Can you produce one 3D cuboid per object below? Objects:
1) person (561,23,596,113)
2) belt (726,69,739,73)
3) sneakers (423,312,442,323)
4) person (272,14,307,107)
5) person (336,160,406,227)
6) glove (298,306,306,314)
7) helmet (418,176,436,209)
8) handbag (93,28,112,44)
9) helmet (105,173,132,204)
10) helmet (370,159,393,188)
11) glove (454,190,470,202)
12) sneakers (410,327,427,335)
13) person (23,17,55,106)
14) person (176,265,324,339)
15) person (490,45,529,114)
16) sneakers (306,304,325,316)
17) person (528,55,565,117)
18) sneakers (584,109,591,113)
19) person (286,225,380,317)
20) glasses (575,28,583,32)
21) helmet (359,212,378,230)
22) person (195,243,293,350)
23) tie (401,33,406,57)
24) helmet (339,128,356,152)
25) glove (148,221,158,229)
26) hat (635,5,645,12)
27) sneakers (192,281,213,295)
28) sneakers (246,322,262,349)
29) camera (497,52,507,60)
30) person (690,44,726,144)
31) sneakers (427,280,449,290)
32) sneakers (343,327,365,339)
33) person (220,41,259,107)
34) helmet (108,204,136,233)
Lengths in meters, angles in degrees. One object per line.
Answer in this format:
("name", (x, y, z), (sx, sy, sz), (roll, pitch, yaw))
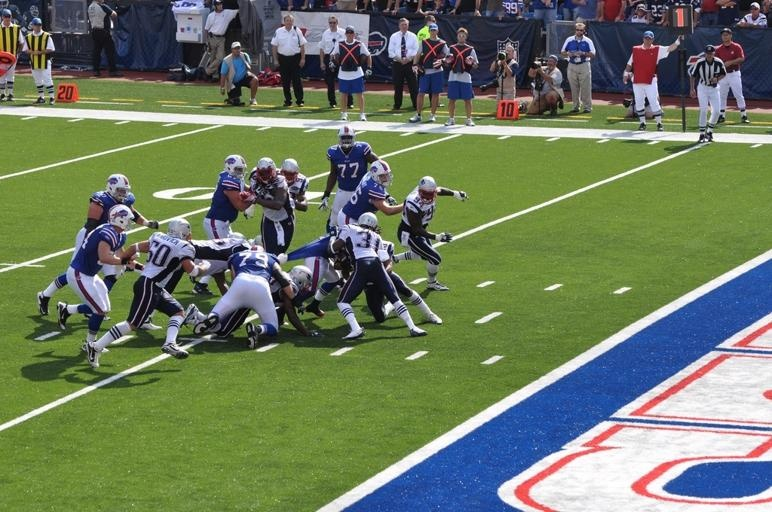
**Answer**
("person", (5.039, -4.908, 27.416), (0.780, 2.275, 0.790), (2, 12, 9))
("belt", (8.389, -4.485, 25.369), (0.162, 0.049, 0.139), (-2, -1, -20))
("sneakers", (0.695, 0.872, 15.199), (0.272, 0.102, 0.142), (29, 50, 23))
("person", (-2.593, -5.312, 28.550), (0.742, 2.430, 1.063), (-3, 12, -14))
("person", (-0.280, -1.003, 17.104), (0.685, 0.561, 1.385), (24, -45, -31))
("glove", (-1.241, 0.769, 15.512), (0.108, 0.051, 0.129), (20, -18, -15))
("helmet", (0.645, -1.092, 16.069), (0.345, 0.393, 0.381), (-2, 49, 1))
("handbag", (-9.097, -7.028, 33.658), (0.612, 0.444, 0.364), (-1, 11, -5))
("helmet", (-3.971, -1.020, 15.648), (0.319, 0.411, 0.513), (-1, 11, -5))
("helmet", (-0.082, -1.288, 16.276), (0.322, 0.387, 0.345), (-1, 11, -6))
("glove", (1.211, -0.962, 16.645), (0.196, 0.085, 0.315), (26, 2, 10))
("sneakers", (0.464, 1.028, 14.840), (0.217, 0.119, 0.102), (-7, 25, 5))
("person", (-9.584, -5.397, 29.140), (0.683, 2.327, 1.462), (-3, 12, -16))
("person", (-1.981, 0.702, 14.971), (2.093, 0.709, 0.812), (-12, 1, -23))
("person", (3.136, -4.656, 27.183), (0.787, 1.541, 0.911), (1, 11, 5))
("sneakers", (-1.042, 0.773, 15.609), (0.292, 0.103, 0.137), (13, 18, -22))
("person", (4.158, -4.418, 27.209), (0.903, 1.477, 1.001), (1, 11, 7))
("sneakers", (5.286, -3.809, 27.551), (0.085, 0.060, 0.169), (1, -1, 28))
("person", (-1.032, 0.131, 15.550), (1.463, 1.355, 0.669), (9, -35, -26))
("glasses", (4.973, -5.808, 27.025), (0.105, 0.072, 0.114), (3, 11, 15))
("helmet", (-0.242, -0.526, 15.161), (0.239, 0.229, 0.265), (6, 25, 4))
("person", (-2.015, 0.524, 14.763), (1.343, 0.717, 2.101), (10, 27, 4))
("tie", (0.472, -5.507, 27.646), (0.123, 0.505, 0.199), (1, 12, 3))
("helmet", (-0.645, -1.943, 17.400), (0.227, 0.403, 0.254), (0, 11, 1))
("glove", (-3.505, -0.479, 15.984), (0.185, 0.092, 0.111), (13, 30, 36))
("hat", (7.267, -7.066, 29.974), (0.365, 0.173, 0.532), (1, 5, 10))
("sneakers", (-2.792, 0.491, 16.336), (0.408, 0.242, 0.124), (1, 54, -10))
("sneakers", (-1.849, 1.043, 14.506), (0.160, 0.398, 0.212), (7, 17, 37))
("camera", (2.986, -5.116, 26.864), (0.238, 0.193, 0.241), (13, 3, 12))
("person", (7.305, -3.663, 23.752), (0.634, 2.106, 0.567), (1, 12, 2))
("sneakers", (0.811, 0.446, 16.452), (0.404, 0.136, 0.128), (1, 4, 5))
("sneakers", (-0.400, 1.065, 14.744), (0.362, 0.135, 0.122), (-14, -31, 37))
("person", (-4.040, -5.006, 28.902), (0.944, 1.672, 1.217), (-1, 11, -7))
("helmet", (-3.619, -0.570, 14.554), (0.443, 0.303, 0.288), (4, 16, -12))
